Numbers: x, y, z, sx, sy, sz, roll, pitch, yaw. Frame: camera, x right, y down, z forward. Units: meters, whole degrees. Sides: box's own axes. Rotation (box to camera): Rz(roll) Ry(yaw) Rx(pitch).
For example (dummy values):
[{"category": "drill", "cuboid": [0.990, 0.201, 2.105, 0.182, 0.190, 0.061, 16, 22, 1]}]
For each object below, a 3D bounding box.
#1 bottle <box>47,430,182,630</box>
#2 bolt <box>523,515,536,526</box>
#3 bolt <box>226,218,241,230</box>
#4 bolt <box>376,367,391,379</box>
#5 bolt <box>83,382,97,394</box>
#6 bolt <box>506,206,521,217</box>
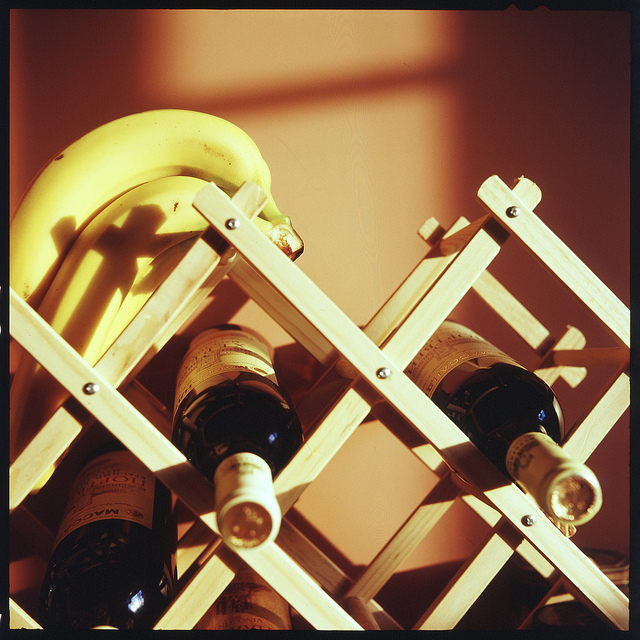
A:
[{"category": "bottle", "cuboid": [-0.231, 0.246, 0.911, 0.140, 0.144, 0.212, 12, 6, -10]}, {"category": "bolt", "cuboid": [0.221, 0.213, 0.825, 0.009, 0.012, 0.002, -16, 1, 5]}, {"category": "bolt", "cuboid": [-0.090, -0.099, 0.788, 0.009, 0.012, 0.010, 6, 12, -2]}, {"category": "bolt", "cuboid": [0.064, 0.053, 0.799, 0.015, 0.010, 0.003, 13, 3, -18]}, {"category": "bolt", "cuboid": [-0.233, 0.068, 0.784, 0.013, 0.008, 0.002, 14, 3, -13]}, {"category": "bolt", "cuboid": [0.204, -0.116, 0.825, 0.016, 0.011, 0.003, 13, 3, -17]}]
